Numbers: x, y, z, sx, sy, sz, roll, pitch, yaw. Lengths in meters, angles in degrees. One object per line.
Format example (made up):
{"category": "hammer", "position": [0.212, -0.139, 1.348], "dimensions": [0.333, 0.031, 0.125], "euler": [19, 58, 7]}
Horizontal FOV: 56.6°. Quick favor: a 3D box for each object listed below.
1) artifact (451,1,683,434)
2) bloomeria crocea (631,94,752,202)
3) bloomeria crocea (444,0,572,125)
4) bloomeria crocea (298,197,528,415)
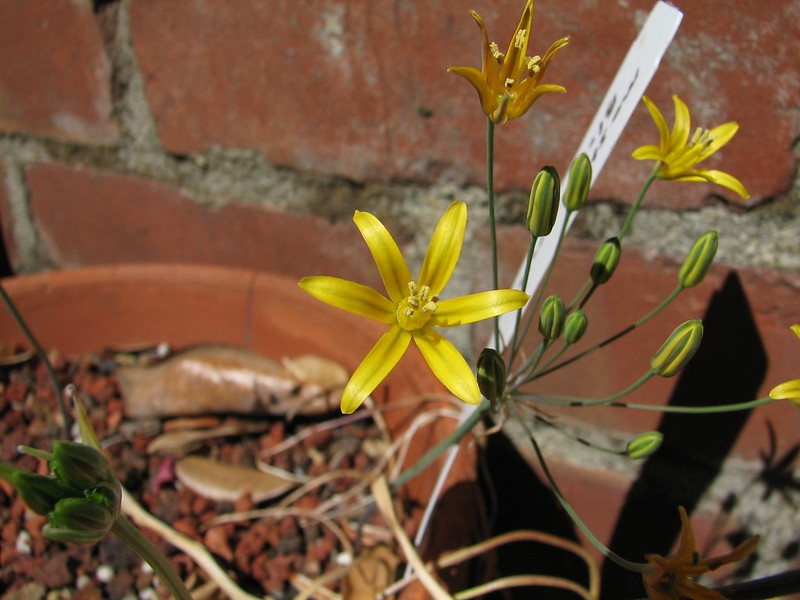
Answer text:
{"category": "artifact", "position": [0.200, -0.108, 0.853], "dimensions": [0.056, 0.021, 0.577], "euler": [22, 93, 11]}
{"category": "bloomeria crocea", "position": [0.289, -0.148, 0.760], "dimensions": [0.113, 0.066, 0.138], "euler": [-1, 81, -20]}
{"category": "bloomeria crocea", "position": [0.107, -0.201, 0.775], "dimensions": [0.119, 0.102, 0.139], "euler": [16, 81, 3]}
{"category": "bloomeria crocea", "position": [0.010, 0.002, 0.709], "dimensions": [0.221, 0.136, 0.152], "euler": [2, 39, -10]}
